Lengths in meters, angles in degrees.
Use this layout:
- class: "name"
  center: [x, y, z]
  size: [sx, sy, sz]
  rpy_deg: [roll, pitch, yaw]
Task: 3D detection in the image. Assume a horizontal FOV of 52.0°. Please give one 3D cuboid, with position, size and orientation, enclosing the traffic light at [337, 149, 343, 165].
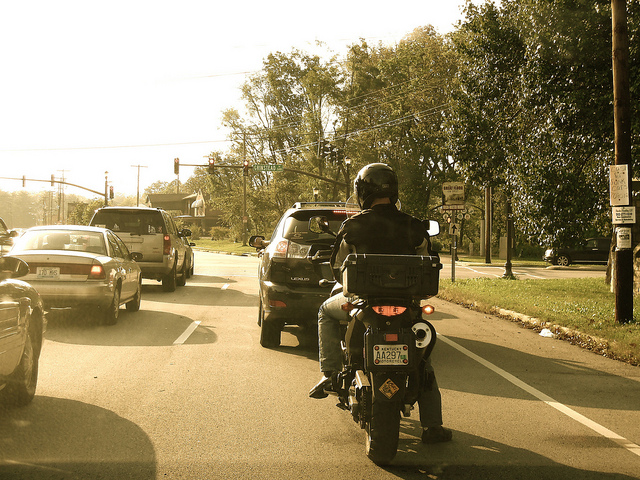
- class: "traffic light"
  center: [1.132, -4.723, 37.496]
  size: [0.285, 0.764, 0.918]
  rpy_deg: [2, 3, 7]

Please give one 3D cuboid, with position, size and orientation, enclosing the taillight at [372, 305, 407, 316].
- class: "taillight"
  center: [0.654, 0.653, 6.145]
  size: [0.306, 0.097, 0.043]
  rpy_deg: [1, 3, -3]

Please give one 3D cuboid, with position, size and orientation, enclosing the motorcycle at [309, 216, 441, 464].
- class: "motorcycle"
  center: [0.575, 1.284, 6.404]
  size: [0.662, 1.600, 0.944]
  rpy_deg: [-2, 5, -43]

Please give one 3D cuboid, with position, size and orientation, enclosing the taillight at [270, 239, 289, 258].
- class: "taillight"
  center: [-0.619, 0.115, 10.065]
  size: [0.167, 0.163, 0.410]
  rpy_deg: [-3, -7, -21]

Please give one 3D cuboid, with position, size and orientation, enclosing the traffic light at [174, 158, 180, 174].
- class: "traffic light"
  center: [-8.866, -4.587, 40.506]
  size: [0.265, 0.826, 0.549]
  rpy_deg: [0, 3, -13]

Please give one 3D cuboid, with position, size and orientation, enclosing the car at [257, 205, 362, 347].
- class: "car"
  center: [-0.273, 0.432, 9.241]
  size: [1.145, 1.261, 2.126]
  rpy_deg: [2, 7, -3]

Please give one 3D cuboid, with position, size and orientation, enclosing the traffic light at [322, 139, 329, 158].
- class: "traffic light"
  center: [0.344, -5.224, 37.267]
  size: [0.333, 0.872, 0.861]
  rpy_deg: [1, 3, 1]

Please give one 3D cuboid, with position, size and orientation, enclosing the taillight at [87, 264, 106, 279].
- class: "taillight"
  center: [-3.956, 0.569, 11.605]
  size: [0.205, 0.226, 0.300]
  rpy_deg: [3, 2, -6]

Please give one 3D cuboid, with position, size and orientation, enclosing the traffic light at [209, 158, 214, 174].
- class: "traffic light"
  center: [-6.757, -4.592, 40.615]
  size: [0.303, 0.867, 1.315]
  rpy_deg: [0, 3, -14]

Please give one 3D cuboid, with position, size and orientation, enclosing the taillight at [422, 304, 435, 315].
- class: "taillight"
  center: [1.059, 0.682, 6.428]
  size: [0.022, 0.100, 0.093]
  rpy_deg: [-14, -1, 43]

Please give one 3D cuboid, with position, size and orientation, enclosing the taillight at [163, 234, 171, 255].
- class: "taillight"
  center: [-4.110, 0.108, 17.610]
  size: [0.266, 0.528, 0.202]
  rpy_deg: [-1, 4, -33]

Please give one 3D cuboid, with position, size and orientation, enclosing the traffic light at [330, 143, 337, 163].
- class: "traffic light"
  center: [0.739, -4.917, 37.225]
  size: [0.323, 0.821, 0.598]
  rpy_deg: [1, 3, 4]
